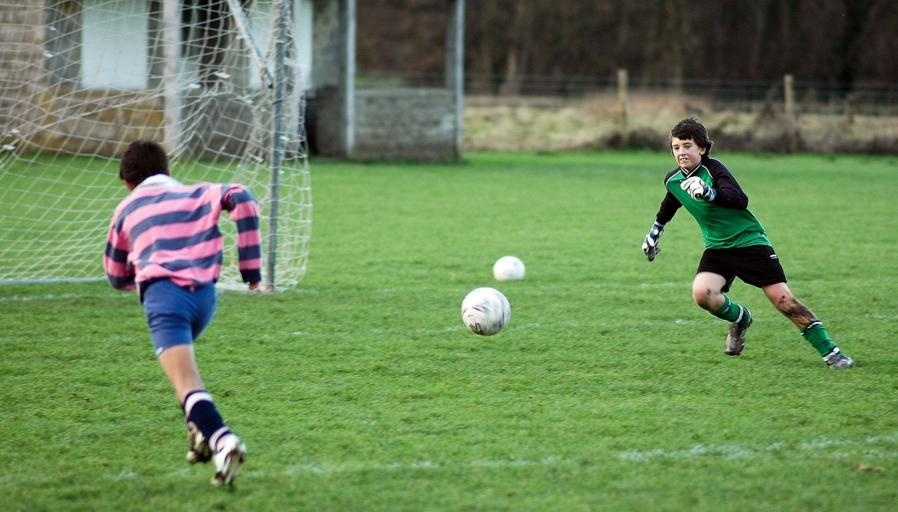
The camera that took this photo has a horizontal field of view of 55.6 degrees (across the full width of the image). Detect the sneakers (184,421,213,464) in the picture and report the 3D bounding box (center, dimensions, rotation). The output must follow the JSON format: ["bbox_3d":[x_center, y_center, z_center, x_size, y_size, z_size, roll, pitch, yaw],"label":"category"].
[{"bbox_3d":[-1.828,1.392,6.252,0.154,0.394,0.299,-6,14,-24],"label":"sneakers"}]

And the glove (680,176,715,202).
[{"bbox_3d":[2.208,-0.594,7.550,0.243,0.095,0.232,24,8,-7],"label":"glove"}]

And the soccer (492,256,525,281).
[{"bbox_3d":[0.682,0.119,9.634,0.323,0.282,0.288,-21,27,-4],"label":"soccer"}]

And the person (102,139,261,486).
[{"bbox_3d":[-1.915,0.399,6.466,1.466,2.473,0.700,11,17,40],"label":"person"}]

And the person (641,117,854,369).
[{"bbox_3d":[2.729,-0.162,7.776,1.514,2.116,0.463,4,13,15],"label":"person"}]

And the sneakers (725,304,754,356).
[{"bbox_3d":[2.677,0.710,7.919,0.246,0.489,0.188,11,5,-26],"label":"sneakers"}]
